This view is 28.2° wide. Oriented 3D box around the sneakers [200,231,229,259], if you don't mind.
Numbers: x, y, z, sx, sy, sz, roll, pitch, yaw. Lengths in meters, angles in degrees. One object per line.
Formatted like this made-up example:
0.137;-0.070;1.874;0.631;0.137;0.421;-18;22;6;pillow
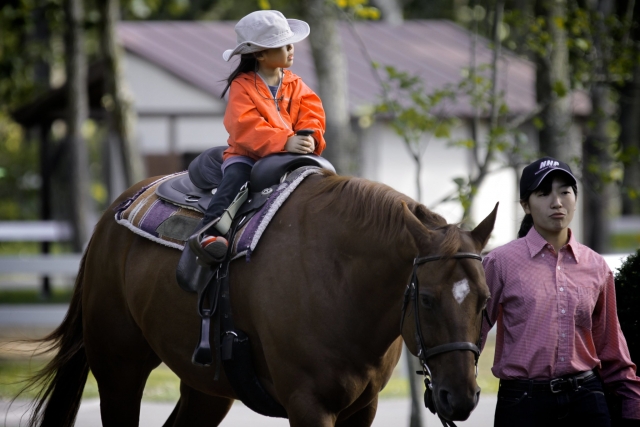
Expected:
-1.098;0.340;13.270;0.280;0.252;0.213;-20;18;-25;sneakers

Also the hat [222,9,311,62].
-0.589;-1.827;13.691;0.686;0.265;0.620;-18;13;25;hat
